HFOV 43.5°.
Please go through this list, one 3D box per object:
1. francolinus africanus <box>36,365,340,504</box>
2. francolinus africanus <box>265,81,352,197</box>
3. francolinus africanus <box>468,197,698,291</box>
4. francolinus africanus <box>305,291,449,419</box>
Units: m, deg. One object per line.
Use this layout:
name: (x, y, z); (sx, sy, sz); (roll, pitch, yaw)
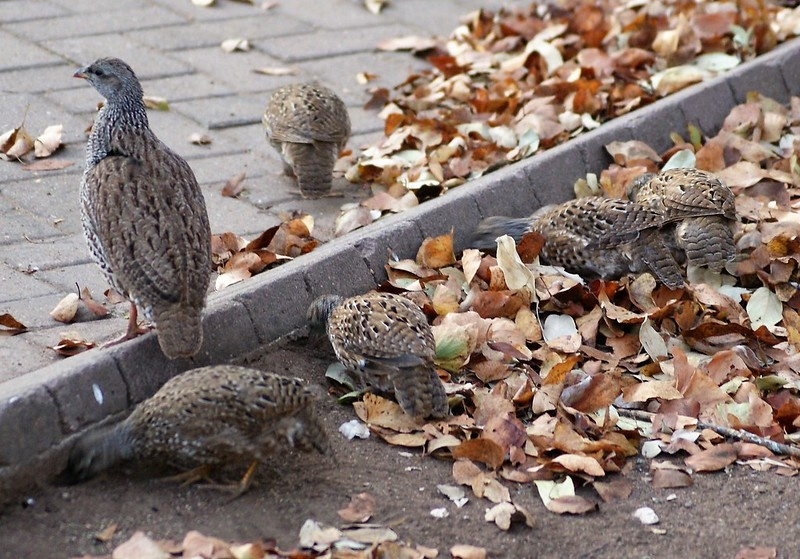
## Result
francolinus africanus: (-0.947, 0.618, 4.593); (1.168, 0.515, 0.489); (-6, 28, 0)
francolinus africanus: (-0.588, -0.912, 6.324); (0.579, 0.593, 0.817); (-1, 34, -7)
francolinus africanus: (1.121, -0.204, 5.766); (0.472, 0.483, 1.283); (-2, 0, -40)
francolinus africanus: (-0.070, 0.317, 5.009); (0.494, 0.518, 0.908); (-8, 18, -29)
